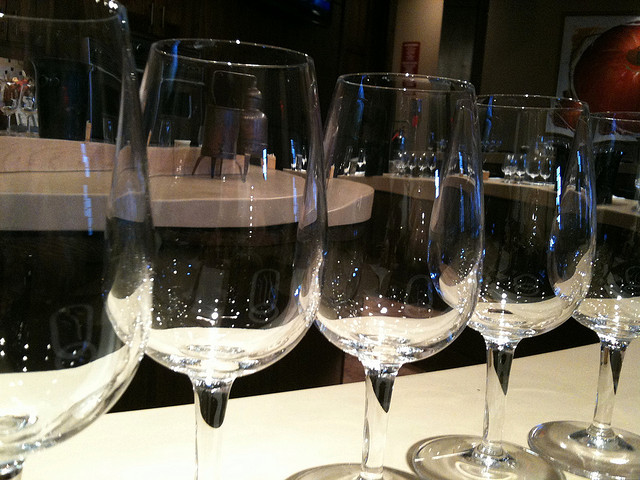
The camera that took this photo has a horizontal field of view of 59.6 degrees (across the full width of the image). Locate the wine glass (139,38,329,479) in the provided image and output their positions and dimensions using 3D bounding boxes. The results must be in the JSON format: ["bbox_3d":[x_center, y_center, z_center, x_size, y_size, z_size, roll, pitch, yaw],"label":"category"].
[{"bbox_3d":[-0.043,0.014,0.296,0.103,0.231,0.070,1,11,-22],"label":"wine glass"}]

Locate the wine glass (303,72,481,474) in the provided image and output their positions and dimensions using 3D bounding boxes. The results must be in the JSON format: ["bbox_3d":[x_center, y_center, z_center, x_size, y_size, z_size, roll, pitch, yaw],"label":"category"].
[{"bbox_3d":[0.050,0.028,0.355,0.107,0.257,0.054,4,10,-9],"label":"wine glass"}]

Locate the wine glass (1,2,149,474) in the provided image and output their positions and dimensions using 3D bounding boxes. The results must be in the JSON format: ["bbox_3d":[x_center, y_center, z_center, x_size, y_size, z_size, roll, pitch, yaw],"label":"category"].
[{"bbox_3d":[-0.098,0.000,0.223,0.058,0.184,0.039,2,11,-19],"label":"wine glass"}]
